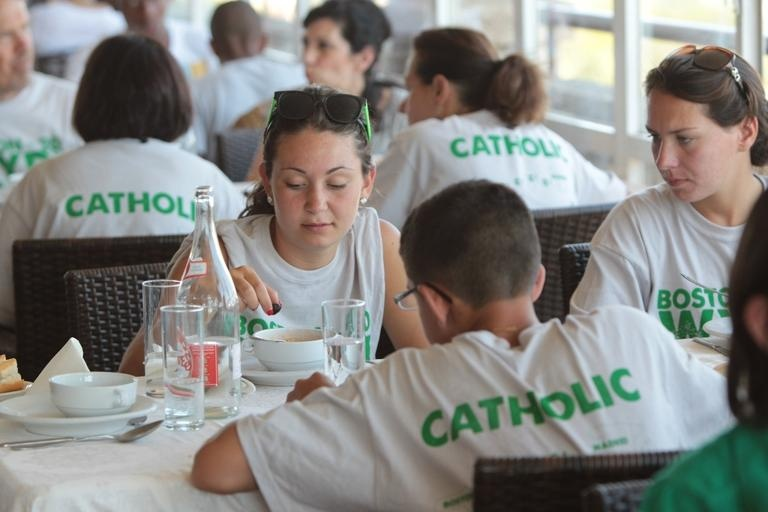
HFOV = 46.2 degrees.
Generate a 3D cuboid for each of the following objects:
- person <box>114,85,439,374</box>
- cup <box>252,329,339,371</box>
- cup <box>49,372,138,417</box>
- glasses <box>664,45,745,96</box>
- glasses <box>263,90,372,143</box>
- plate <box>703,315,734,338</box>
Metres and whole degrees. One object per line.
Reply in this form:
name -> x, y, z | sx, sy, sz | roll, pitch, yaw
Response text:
person -> -0.432, -0.054, 3.086 | 1.114, 1.229, 0.787 | 0, 6, -19
cup -> -0.264, 0.259, 2.482 | 0.149, 0.068, 0.128 | -2, 0, 14
cup -> -0.691, 0.309, 2.159 | 0.115, 0.064, 0.148 | 0, 2, 34
glasses -> 1.061, -0.612, 2.954 | 0.240, 0.153, 0.132 | 6, 9, 20
glasses -> -0.207, -0.437, 2.846 | 0.347, 0.161, 0.182 | 2, 9, -7
plate -> 0.965, 0.207, 2.602 | 0.105, 0.027, 0.113 | -3, 16, 1
